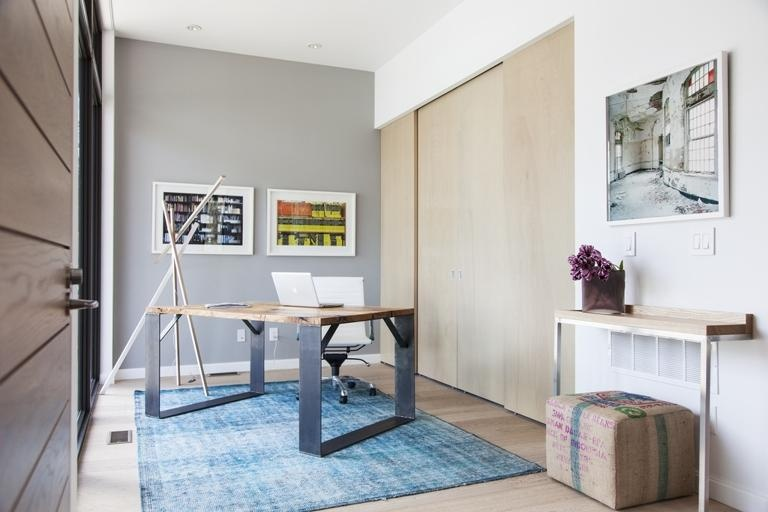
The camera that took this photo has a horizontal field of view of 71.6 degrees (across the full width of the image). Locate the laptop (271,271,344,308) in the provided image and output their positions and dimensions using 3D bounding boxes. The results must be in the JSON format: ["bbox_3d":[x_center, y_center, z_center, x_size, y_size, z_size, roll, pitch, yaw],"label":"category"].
[{"bbox_3d":[-0.626,0.263,4.110,0.357,0.220,0.331,-1,-4,39],"label":"laptop"}]

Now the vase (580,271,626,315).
[{"bbox_3d":[1.317,0.219,3.164,0.247,0.241,0.249,-2,-5,35],"label":"vase"}]

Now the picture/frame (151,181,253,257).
[{"bbox_3d":[-1.964,-0.382,5.568,0.834,0.608,0.038,1,-3,-26],"label":"picture/frame"}]

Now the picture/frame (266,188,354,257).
[{"bbox_3d":[-0.905,-0.375,6.085,0.796,0.585,0.028,2,-3,-27],"label":"picture/frame"}]

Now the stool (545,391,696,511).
[{"bbox_3d":[1.300,1.002,2.975,0.600,0.494,0.571,2,-6,-21],"label":"stool"}]

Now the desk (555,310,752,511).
[{"bbox_3d":[1.496,0.857,2.873,0.375,0.961,1.035,0,-1,-28],"label":"desk"}]
